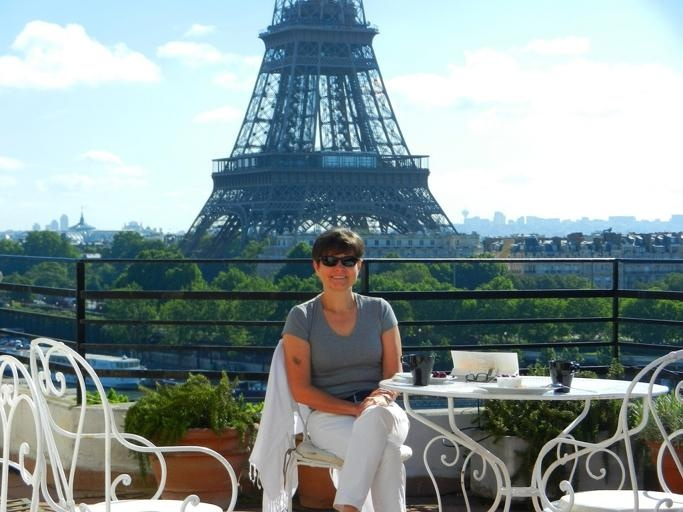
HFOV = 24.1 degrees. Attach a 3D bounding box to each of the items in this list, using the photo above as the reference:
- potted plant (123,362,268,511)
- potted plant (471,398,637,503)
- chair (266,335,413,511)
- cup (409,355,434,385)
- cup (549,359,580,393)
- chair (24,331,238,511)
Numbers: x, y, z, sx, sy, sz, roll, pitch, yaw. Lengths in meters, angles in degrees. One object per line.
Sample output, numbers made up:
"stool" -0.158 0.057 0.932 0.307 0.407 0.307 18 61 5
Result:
"potted plant" -1.411 1.778 15.426 1.094 1.316 1.178 1 -14 -3
"potted plant" 1.890 1.696 15.389 1.057 0.639 1.037 0 -1 -40
"chair" -0.109 1.473 15.159 1.279 2.404 1.301 0 3 -3
"cup" 0.709 1.006 13.918 0.221 0.280 0.236 0 -5 0
"cup" 1.920 1.058 13.901 0.208 0.260 0.244 -7 -18 34
"chair" -1.871 1.449 14.201 1.734 2.384 1.285 -3 -1 -12
